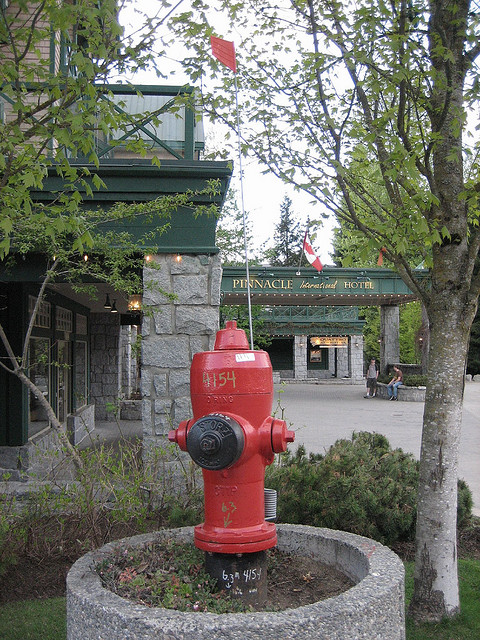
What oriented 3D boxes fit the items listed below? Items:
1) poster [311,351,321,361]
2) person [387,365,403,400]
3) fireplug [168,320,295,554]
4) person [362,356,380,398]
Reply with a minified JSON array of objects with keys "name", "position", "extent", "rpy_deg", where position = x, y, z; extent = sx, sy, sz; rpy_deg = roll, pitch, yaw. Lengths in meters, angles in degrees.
[{"name":"poster","position":[4.836,2.250,39.043],"extent":[0.591,0.595,0.074],"rpy_deg":[0,-1,7]},{"name":"person","position":[5.210,2.118,20.536],"extent":[0.441,1.063,1.166],"rpy_deg":[0,-1,0]},{"name":"fireplug","position":[-0.023,0.616,3.269],"extent":[0.506,1.380,0.596],"rpy_deg":[-3,-5,42]},{"name":"person","position":[4.825,2.118,22.743],"extent":[0.482,1.386,1.392],"rpy_deg":[0,-1,15]}]
